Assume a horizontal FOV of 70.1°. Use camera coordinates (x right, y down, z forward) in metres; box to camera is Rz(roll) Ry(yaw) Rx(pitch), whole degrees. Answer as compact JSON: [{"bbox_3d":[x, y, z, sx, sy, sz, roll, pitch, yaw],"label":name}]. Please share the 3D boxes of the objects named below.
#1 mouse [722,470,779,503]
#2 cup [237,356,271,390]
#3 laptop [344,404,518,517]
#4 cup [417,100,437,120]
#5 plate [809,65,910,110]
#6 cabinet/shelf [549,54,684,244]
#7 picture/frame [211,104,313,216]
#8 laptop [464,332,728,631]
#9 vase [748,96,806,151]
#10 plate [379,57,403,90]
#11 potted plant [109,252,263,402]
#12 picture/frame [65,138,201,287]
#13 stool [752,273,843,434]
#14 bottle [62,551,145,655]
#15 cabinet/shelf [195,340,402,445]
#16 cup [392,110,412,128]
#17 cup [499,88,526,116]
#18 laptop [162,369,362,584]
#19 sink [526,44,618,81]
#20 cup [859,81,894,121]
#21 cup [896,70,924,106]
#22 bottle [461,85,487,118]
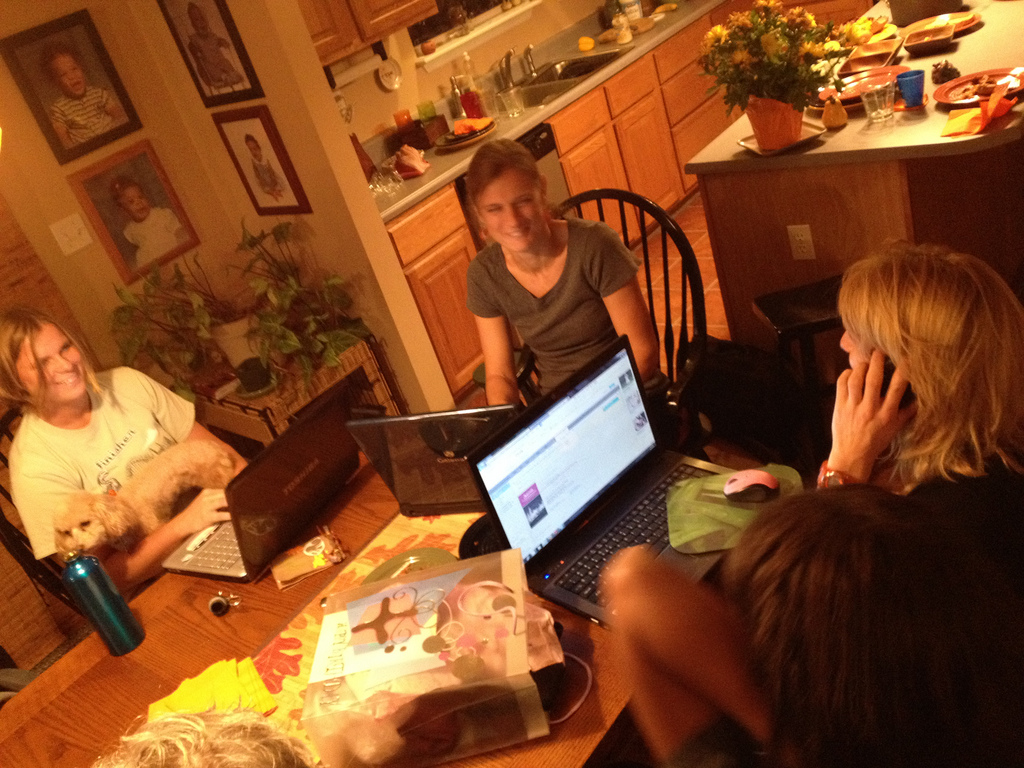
[{"bbox_3d":[0.519,0.213,1.576,0.088,0.032,0.067,3,30,11],"label":"mouse"},{"bbox_3d":[-1.151,-0.047,3.302,0.133,0.125,0.128,-25,31,16],"label":"cup"},{"bbox_3d":[-0.198,0.180,1.810,0.326,0.270,0.299,-5,21,22],"label":"laptop"},{"bbox_3d":[-0.511,-1.615,4.291,0.096,0.120,0.106,0,6,18],"label":"cup"},{"bbox_3d":[1.316,-1.120,2.763,0.248,0.044,0.263,-6,32,40],"label":"plate"},{"bbox_3d":[0.547,-1.406,4.704,1.047,1.026,0.562,-37,35,-27],"label":"cabinet/shelf"},{"bbox_3d":[-1.157,-1.064,3.385,0.422,0.519,0.033,20,49,38],"label":"picture/frame"},{"bbox_3d":[0.238,0.185,1.511,0.556,0.327,0.422,-32,24,-32],"label":"laptop"},{"bbox_3d":[0.950,-0.910,2.620,0.174,0.186,0.173,3,10,16],"label":"vase"},{"bbox_3d":[-0.704,-1.785,4.187,0.142,0.146,0.027,-42,35,-21],"label":"plate"},{"bbox_3d":[-1.522,-0.276,3.373,0.498,0.681,0.663,-38,26,-19],"label":"potted plant"},{"bbox_3d":[-1.759,-0.794,3.317,0.035,0.574,0.509,14,47,38],"label":"picture/frame"},{"bbox_3d":[0.996,-0.094,2.530,0.294,0.492,0.260,-29,34,-3],"label":"stool"},{"bbox_3d":[-0.956,0.520,1.710,0.101,0.298,0.083,4,32,37],"label":"bottle"},{"bbox_3d":[-0.984,0.019,3.335,0.675,0.529,0.656,-35,24,-33],"label":"cabinet/shelf"},{"bbox_3d":[-0.641,-1.538,4.204,0.090,0.073,0.093,-3,42,3],"label":"cup"},{"bbox_3d":[-0.007,-1.667,4.318,0.123,0.121,0.366,-15,27,5],"label":"cup"},{"bbox_3d":[-0.751,0.311,1.991,0.364,0.285,0.458,9,5,4],"label":"laptop"},{"bbox_3d":[0.384,-2.102,4.766,0.409,0.146,0.322,-39,45,-26],"label":"sink"},{"bbox_3d":[1.327,-1.018,2.635,0.127,0.123,0.122,-7,31,4],"label":"cup"},{"bbox_3d":[1.435,-1.067,2.619,0.105,0.125,0.111,-11,29,6],"label":"cup"},{"bbox_3d":[-0.254,-1.690,4.403,0.121,0.159,0.265,-24,27,-13],"label":"bottle"}]
